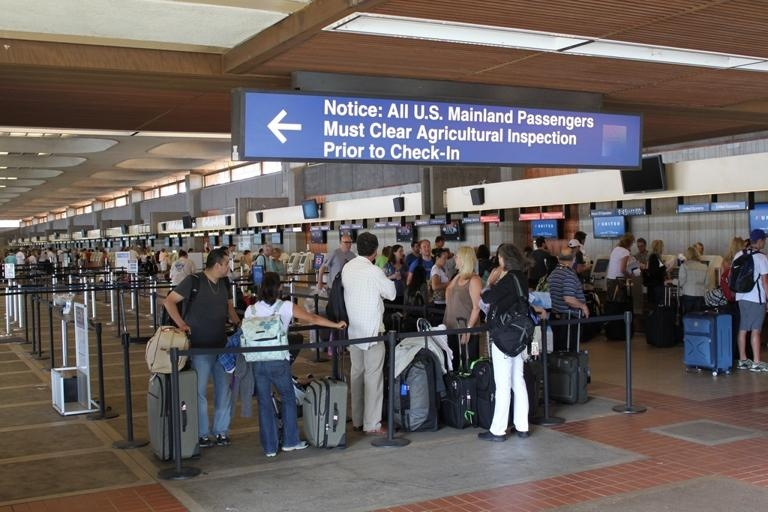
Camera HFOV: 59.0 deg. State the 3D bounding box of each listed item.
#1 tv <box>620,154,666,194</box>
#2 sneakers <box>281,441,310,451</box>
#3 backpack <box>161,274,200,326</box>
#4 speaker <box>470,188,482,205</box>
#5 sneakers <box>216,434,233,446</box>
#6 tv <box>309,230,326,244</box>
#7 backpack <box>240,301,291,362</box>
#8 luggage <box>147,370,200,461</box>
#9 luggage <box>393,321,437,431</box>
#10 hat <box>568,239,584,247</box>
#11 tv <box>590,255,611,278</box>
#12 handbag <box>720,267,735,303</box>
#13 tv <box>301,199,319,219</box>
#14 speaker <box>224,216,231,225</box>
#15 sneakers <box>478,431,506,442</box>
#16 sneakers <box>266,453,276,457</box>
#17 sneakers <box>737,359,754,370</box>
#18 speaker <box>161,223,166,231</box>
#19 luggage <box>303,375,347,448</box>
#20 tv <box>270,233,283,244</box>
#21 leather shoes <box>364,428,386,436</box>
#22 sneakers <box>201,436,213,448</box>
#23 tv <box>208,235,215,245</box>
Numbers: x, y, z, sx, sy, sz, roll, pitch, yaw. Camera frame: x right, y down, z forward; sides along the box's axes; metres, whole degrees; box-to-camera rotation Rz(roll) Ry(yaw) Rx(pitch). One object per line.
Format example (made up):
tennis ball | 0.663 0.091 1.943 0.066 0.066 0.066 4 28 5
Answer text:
tv | 5.442 -1.686 14.111 0.353 0.722 0.952 -14 6 -38
sneakers | -1.007 2.138 7.710 0.299 0.110 0.102 -5 2 1
backpack | -2.352 0.498 7.761 0.565 0.605 0.318 1 4 39
speaker | 2.487 -1.624 18.299 0.290 0.485 0.534 -1 0 -18
sneakers | -1.869 2.093 7.866 0.162 0.119 0.198 -2 3 -13
tv | -2.860 -0.829 29.162 0.647 0.430 0.603 0 4 -3
backpack | -1.326 0.822 7.528 0.517 0.635 0.500 -1 3 -7
luggage | -2.329 1.711 7.392 0.611 0.974 0.277 0 3 17
luggage | 0.392 1.534 8.188 0.533 1.111 0.332 -1 3 -1
hat | 4.638 -0.321 16.386 0.409 0.207 0.295 2 2 -17
tv | 5.336 0.252 16.715 0.425 0.508 0.532 0 -1 23
handbag | 5.710 0.483 11.337 0.243 0.577 0.442 -3 -8 7
tv | -2.825 -1.762 25.715 0.476 0.737 0.837 -10 13 -31
speaker | -7.548 -1.753 32.723 0.477 0.400 0.233 0 -5 -6
sneakers | 1.258 2.080 7.927 0.287 0.106 0.112 4 0 27
sneakers | -1.240 2.162 7.458 0.123 0.046 0.074 -2 3 -14
sneakers | 5.745 1.719 10.801 0.274 0.102 0.121 1 1 -33
speaker | -13.435 -1.784 41.284 0.385 0.468 0.511 -3 4 -40
luggage | -0.810 1.792 7.873 0.647 0.740 0.530 -3 -10 31
tv | -4.871 -0.820 30.775 0.245 0.546 0.679 4 -6 -35
leather shoes | -0.116 2.094 8.153 0.272 0.093 0.090 -3 1 -1
sneakers | -2.027 2.104 7.744 0.077 0.067 0.169 0 4 -34
tv | -10.024 -0.969 39.421 0.522 0.441 0.356 1 -7 -19
